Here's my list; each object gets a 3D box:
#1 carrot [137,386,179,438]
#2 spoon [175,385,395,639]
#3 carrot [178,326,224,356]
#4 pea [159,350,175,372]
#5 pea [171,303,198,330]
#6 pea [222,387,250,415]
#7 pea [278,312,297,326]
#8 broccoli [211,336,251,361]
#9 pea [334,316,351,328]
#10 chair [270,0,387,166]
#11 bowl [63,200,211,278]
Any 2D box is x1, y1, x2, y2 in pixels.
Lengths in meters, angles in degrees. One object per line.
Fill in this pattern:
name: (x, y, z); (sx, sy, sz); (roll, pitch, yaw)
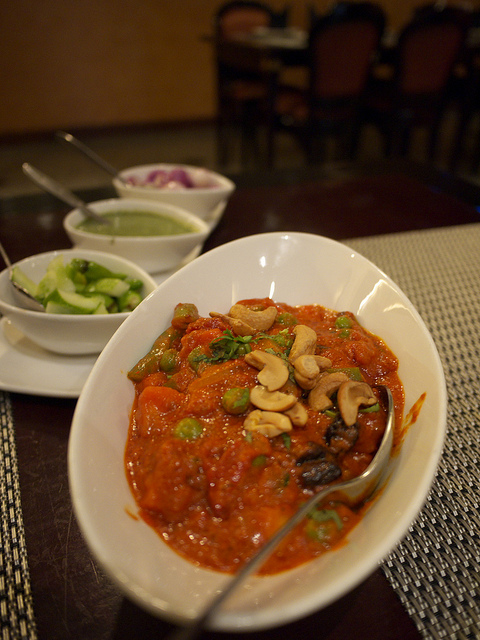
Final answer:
carrot: (-0.192, 0.213, 1.282); (0.106, 0.035, 0.095); (2, 50, 20)
spoon: (0.086, 0.385, 1.071); (0.692, 0.133, 0.112); (-35, 90, -35)
carrot: (-0.096, 0.054, 1.418); (0.097, 0.029, 0.070); (-7, 21, 41)
pea: (-0.182, 0.104, 1.409); (0.038, 0.029, 0.047); (19, 87, 30)
pea: (-0.154, -0.008, 1.497); (0.057, 0.030, 0.082); (0, 19, 7)
pea: (-0.018, 0.178, 1.205); (0.059, 0.027, 0.051); (-3, 56, 5)
pea: (0.138, -0.006, 1.565); (0.041, 0.013, 0.040); (31, 39, 29)
broccoli: (-0.024, 0.070, 1.363); (0.074, 0.026, 0.069); (-23, 43, -29)
pea: (0.286, 0.008, 1.529); (0.028, 0.018, 0.033); (8, 28, 4)
chair: (1.001, -2.462, 5.974); (1.156, 1.621, 0.656); (-10, 50, -7)
bowl: (-0.356, -0.315, 2.160); (0.518, 0.162, 0.427); (-13, 34, -32)
